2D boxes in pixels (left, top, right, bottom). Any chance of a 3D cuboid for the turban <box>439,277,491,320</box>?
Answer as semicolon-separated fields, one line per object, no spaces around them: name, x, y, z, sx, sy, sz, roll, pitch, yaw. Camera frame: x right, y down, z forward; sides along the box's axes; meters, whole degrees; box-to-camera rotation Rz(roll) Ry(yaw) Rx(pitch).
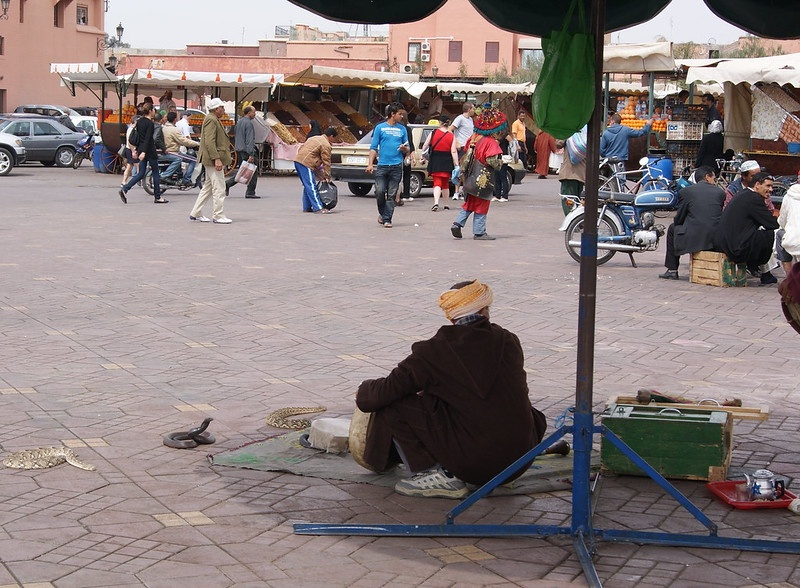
turban;0.375;0.036;5.310;0.284;0.241;0.189;2;9;4

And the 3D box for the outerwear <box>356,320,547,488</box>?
outerwear;0.273;0.594;5.726;1.188;0.755;1.178;-5;10;-30

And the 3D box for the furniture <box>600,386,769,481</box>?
furniture;1.800;0.890;5.806;0.836;0.255;0.681;2;5;13

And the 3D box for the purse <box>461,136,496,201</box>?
purse;1.349;-2.128;15.442;0.661;1.110;0.512;4;10;13

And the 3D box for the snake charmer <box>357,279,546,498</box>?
snake charmer;0.495;0.576;5.707;1.646;1.182;1.268;-4;1;11

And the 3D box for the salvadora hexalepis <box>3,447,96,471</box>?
salvadora hexalepis;-2.159;1.021;5.593;0.443;0.081;0.420;-4;9;-34

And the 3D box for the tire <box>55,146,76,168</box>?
tire;-12.088;-5.025;33.100;0.906;0.680;0.293;12;11;-33

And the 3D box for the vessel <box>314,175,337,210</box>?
vessel;-1.557;-2.137;19.759;0.344;0.642;0.837;5;9;18

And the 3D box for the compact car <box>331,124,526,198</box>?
compact car;0.614;-3.556;24.044;5.342;1.331;2.079;-6;17;-24
